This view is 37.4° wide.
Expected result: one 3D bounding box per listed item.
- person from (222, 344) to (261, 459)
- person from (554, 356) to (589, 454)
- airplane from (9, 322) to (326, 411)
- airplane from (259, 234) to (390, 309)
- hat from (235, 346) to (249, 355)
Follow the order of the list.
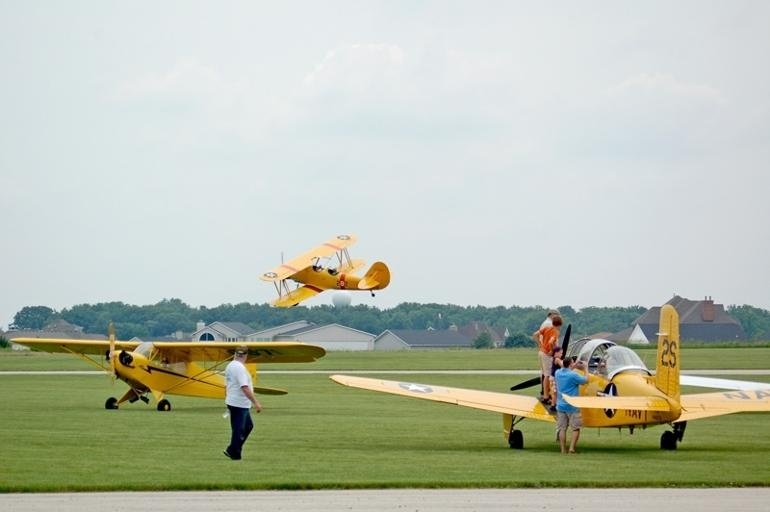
[{"bbox_3d":[-3.270,3.353,25.716,0.750,2.510,1.386,4,-11,-6],"label":"person"},{"bbox_3d":[4.292,3.486,26.658,0.713,2.228,1.109,1,-11,8],"label":"person"},{"bbox_3d":[-6.488,3.512,35.283,9.615,2.716,3.977,-3,-12,29],"label":"airplane"},{"bbox_3d":[-2.572,0.165,54.714,4.110,1.755,5.160,21,33,27],"label":"airplane"},{"bbox_3d":[-3.204,2.115,25.453,0.213,0.213,0.414,2,-10,0],"label":"hat"}]
